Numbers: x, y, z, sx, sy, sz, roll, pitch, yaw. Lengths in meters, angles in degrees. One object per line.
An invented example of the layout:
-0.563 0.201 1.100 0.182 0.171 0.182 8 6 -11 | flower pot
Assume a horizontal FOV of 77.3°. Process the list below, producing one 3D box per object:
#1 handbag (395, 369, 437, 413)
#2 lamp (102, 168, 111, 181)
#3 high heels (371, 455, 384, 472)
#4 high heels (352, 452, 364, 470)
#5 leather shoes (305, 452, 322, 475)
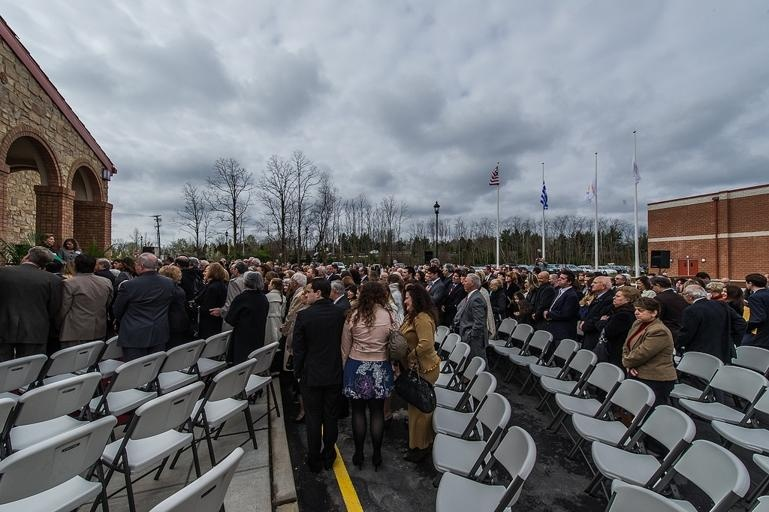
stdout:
0.489 2.030 7.245 0.652 0.276 0.522 34 8 -9 | handbag
-10.135 -2.985 17.552 0.253 0.392 0.547 0 -1 -22 | lamp
-0.090 3.115 7.371 0.181 0.249 0.144 0 -1 -19 | high heels
-0.414 3.109 7.393 0.177 0.235 0.175 -1 -1 -1 | high heels
-1.082 3.113 7.344 0.284 0.300 0.199 -1 -1 6 | leather shoes
